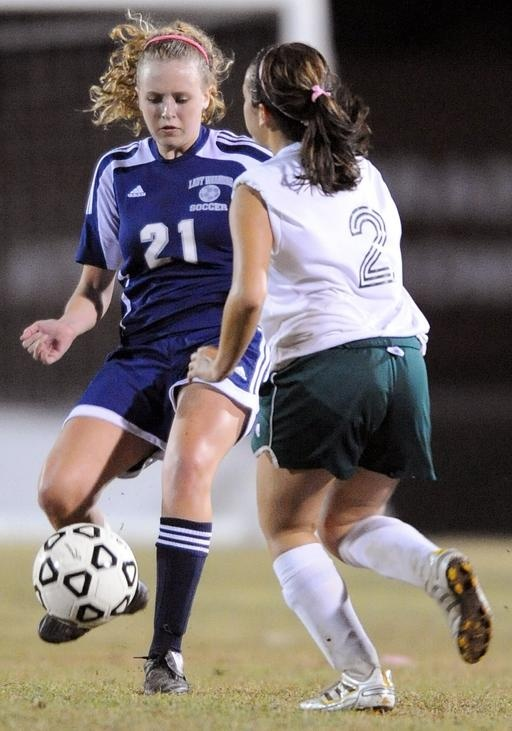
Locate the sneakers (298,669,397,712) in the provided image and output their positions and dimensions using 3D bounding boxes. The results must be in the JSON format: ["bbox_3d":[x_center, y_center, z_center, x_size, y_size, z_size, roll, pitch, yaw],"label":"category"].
[{"bbox_3d":[0.171,0.559,1.770,0.198,0.072,0.066,-7,-20,19],"label":"sneakers"}]

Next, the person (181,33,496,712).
[{"bbox_3d":[0.120,0.019,1.770,0.404,1.106,0.455,4,17,-3],"label":"person"}]

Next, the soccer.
[{"bbox_3d":[-0.310,0.407,1.919,0.208,0.221,0.152,-3,18,-25],"label":"soccer"}]

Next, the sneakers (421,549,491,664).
[{"bbox_3d":[0.332,0.387,1.668,0.081,0.191,0.093,-26,-3,-2],"label":"sneakers"}]
